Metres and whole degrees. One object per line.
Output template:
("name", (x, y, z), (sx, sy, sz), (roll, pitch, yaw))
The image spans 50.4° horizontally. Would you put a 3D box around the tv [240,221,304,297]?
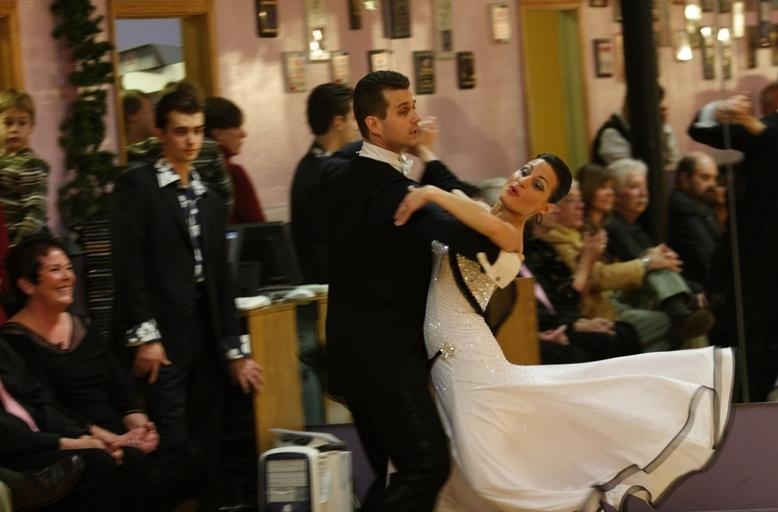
("tv", (-0.733, 0.004, 5.214), (0.442, 0.376, 0.094), (-2, 8, -17))
